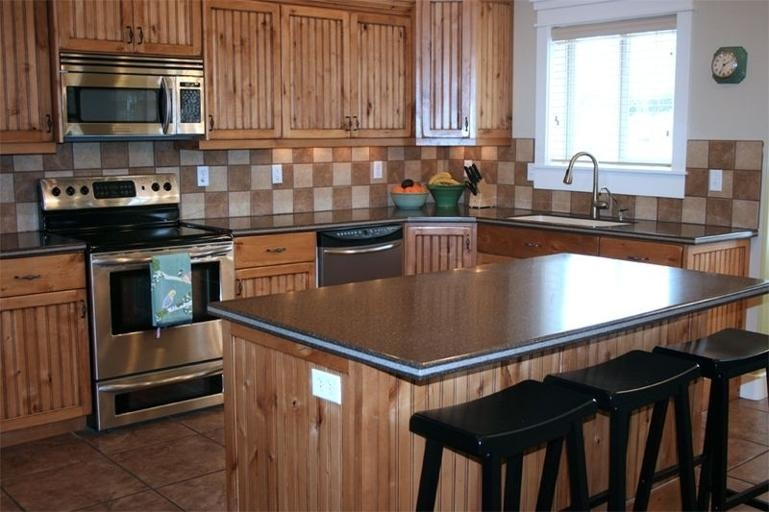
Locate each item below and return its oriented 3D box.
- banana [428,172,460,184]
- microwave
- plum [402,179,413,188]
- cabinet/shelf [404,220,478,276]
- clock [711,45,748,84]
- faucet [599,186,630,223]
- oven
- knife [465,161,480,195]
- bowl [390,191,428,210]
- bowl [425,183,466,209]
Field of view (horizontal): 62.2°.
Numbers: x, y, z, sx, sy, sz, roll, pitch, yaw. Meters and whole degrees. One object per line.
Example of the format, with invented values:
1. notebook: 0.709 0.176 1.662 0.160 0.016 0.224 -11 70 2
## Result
1. banana: 0.518 -0.685 5.662 0.214 0.090 0.243 -4 13 -17
2. microwave: -1.790 -1.068 4.387 0.940 0.522 0.554 -10 21 -41
3. plum: 0.201 -0.637 5.544 0.091 0.063 0.065 -7 26 -6
4. cabinet/shelf: 0.477 -0.002 5.306 0.567 0.516 0.380 -2 9 2
5. clock: 2.360 -1.318 4.380 0.064 0.224 0.255 3 5 -32
6. faucet: 1.806 -0.392 5.061 0.195 0.223 0.157 1 10 9
7. oven: -1.660 0.474 4.378 1.069 1.143 0.956 -3 7 -32
8. knife: 0.794 -0.700 5.705 0.103 0.301 0.315 -7 5 6
9. bowl: 0.218 -0.502 5.560 0.307 0.174 0.235 0 13 0
10. bowl: 0.549 -0.531 5.608 0.268 0.155 0.256 1 1 0
